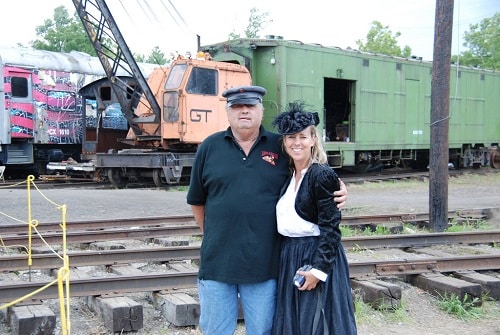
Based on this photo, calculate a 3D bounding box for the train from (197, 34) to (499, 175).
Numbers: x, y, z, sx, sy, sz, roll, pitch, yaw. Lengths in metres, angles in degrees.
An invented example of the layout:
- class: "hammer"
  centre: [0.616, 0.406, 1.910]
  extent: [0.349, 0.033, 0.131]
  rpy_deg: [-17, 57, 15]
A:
- class: "train"
  centre: [6.541, -2.768, 19.619]
  extent: [18.068, 5.980, 5.061]
  rpy_deg: [-3, 4, -37]

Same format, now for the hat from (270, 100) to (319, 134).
- class: "hat"
  centre: [0.448, -0.416, 3.777]
  extent: [0.294, 0.192, 0.373]
  rpy_deg: [29, 37, 20]

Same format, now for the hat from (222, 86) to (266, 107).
- class: "hat"
  centre: [-0.075, -0.678, 3.884]
  extent: [0.414, 0.183, 0.463]
  rpy_deg: [-6, 0, 4]
